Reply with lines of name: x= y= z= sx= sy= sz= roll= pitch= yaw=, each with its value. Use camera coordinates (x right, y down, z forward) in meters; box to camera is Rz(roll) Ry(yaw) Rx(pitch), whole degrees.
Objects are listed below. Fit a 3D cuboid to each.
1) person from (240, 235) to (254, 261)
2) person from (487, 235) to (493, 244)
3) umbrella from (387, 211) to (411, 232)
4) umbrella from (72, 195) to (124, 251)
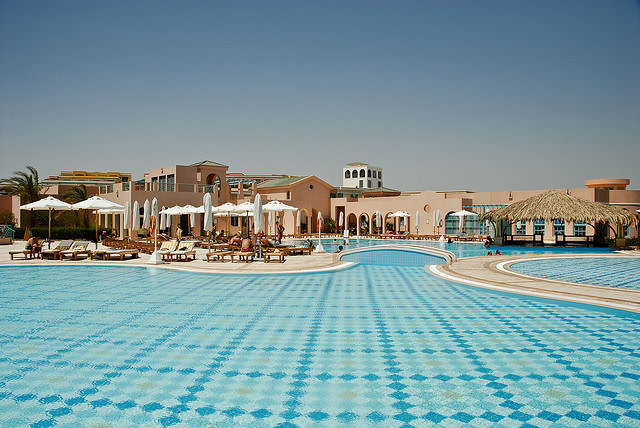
person: x=-3.551 y=1.750 z=22.676 sx=0.671 sy=1.184 sz=1.714 roll=-3 pitch=11 yaw=-8
person: x=11.923 y=1.846 z=32.961 sx=0.632 sy=0.631 sz=0.292 roll=-10 pitch=15 yaw=-36
umbrella: x=7.271 y=0.641 z=44.797 sx=2.522 sy=1.889 sz=2.277 roll=1 pitch=1 yaw=17
umbrella: x=-15.957 y=0.694 z=33.829 sx=4.722 sy=3.480 sz=4.232 roll=-3 pitch=-4 yaw=15
